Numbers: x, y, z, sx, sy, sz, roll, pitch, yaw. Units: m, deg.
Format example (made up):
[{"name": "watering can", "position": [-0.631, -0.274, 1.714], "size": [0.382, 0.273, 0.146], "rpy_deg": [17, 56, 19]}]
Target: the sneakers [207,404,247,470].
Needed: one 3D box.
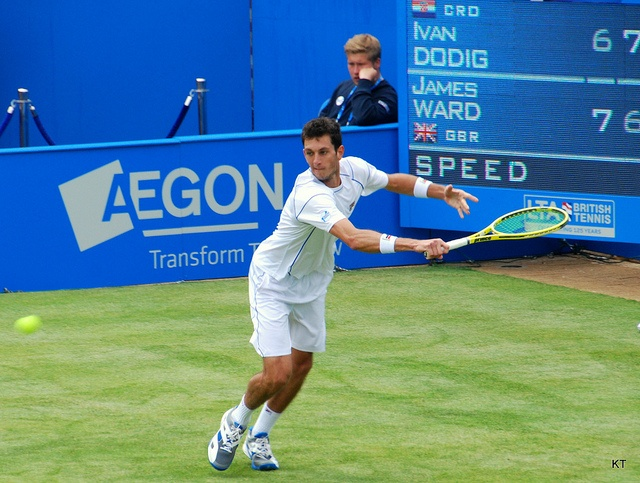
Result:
[{"name": "sneakers", "position": [-0.640, 1.352, 6.863], "size": [0.249, 0.461, 0.165], "rpy_deg": [0, 9, -5]}]

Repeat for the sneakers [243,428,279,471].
[{"name": "sneakers", "position": [-0.420, 1.447, 6.923], "size": [0.160, 0.150, 0.376], "rpy_deg": [1, 9, -30]}]

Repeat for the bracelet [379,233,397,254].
[{"name": "bracelet", "position": [0.451, 0.013, 6.514], "size": [0.121, 0.087, 0.125], "rpy_deg": [1, -13, 3]}]

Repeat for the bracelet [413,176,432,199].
[{"name": "bracelet", "position": [0.768, -0.410, 7.547], "size": [0.133, 0.118, 0.154], "rpy_deg": [11, -5, 2]}]

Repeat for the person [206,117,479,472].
[{"name": "person", "position": [-0.112, 0.337, 7.088], "size": [1.214, 2.412, 1.164], "rpy_deg": [2, 9, 4]}]

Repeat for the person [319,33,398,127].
[{"name": "person", "position": [0.474, -1.816, 11.369], "size": [0.662, 1.000, 0.716], "rpy_deg": [-6, 11, -36]}]
